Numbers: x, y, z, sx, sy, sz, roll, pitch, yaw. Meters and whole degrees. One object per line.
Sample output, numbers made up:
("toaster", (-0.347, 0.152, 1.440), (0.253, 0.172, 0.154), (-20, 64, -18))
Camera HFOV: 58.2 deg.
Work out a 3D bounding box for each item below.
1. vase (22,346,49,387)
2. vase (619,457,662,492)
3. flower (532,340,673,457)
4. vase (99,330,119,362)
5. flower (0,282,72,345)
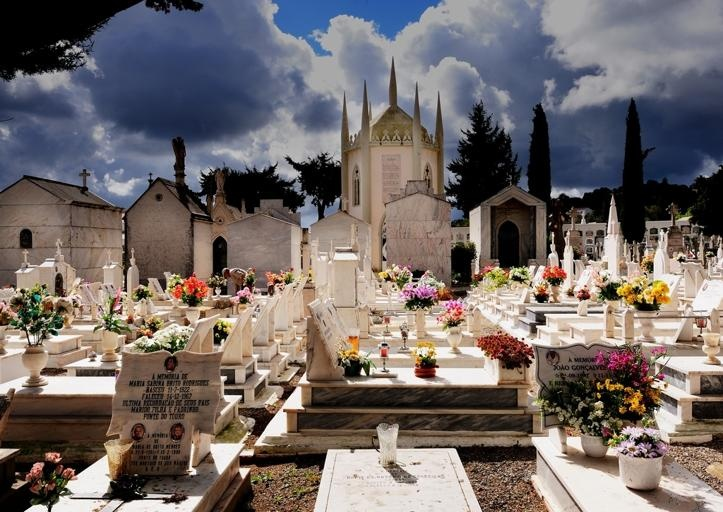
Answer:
("vase", (-4.707, 1.577, 9.353), (0.401, 0.572, 0.379), (1, -6, -35))
("vase", (3.227, 2.491, 7.555), (0.409, 0.311, 0.406), (1, -5, -8))
("flower", (2.934, 1.755, 8.157), (1.403, 1.360, 0.529), (-1, 0, 26))
("vase", (-4.131, 1.472, 10.648), (0.243, 0.363, 0.602), (0, -1, -22))
("flower", (-4.756, 0.924, 9.487), (0.816, 0.524, 0.524), (-1, -1, -3))
